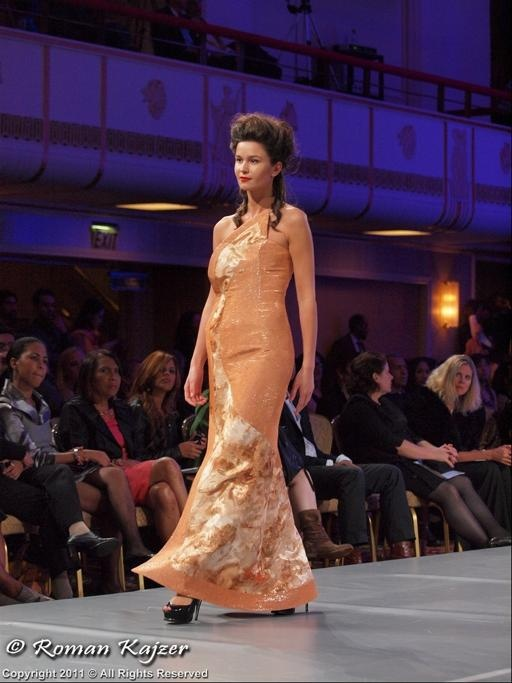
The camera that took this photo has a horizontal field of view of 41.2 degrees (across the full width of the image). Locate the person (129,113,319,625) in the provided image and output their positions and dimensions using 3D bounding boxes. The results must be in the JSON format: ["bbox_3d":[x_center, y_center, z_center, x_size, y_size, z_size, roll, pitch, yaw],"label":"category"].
[{"bbox_3d":[-0.017,0.055,1.947,0.478,1.416,0.379,-11,-17,37],"label":"person"}]

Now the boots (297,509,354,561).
[{"bbox_3d":[0.319,0.907,3.205,0.116,0.214,0.314,5,-19,-38],"label":"boots"}]

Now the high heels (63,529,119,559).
[{"bbox_3d":[-0.654,0.813,2.706,0.195,0.085,0.085,3,39,2],"label":"high heels"}]

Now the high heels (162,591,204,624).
[{"bbox_3d":[-0.195,0.711,1.841,0.058,0.043,0.117,0,7,7],"label":"high heels"}]

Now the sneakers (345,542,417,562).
[{"bbox_3d":[0.670,1.162,3.720,0.389,0.120,0.248,-2,-13,9],"label":"sneakers"}]
